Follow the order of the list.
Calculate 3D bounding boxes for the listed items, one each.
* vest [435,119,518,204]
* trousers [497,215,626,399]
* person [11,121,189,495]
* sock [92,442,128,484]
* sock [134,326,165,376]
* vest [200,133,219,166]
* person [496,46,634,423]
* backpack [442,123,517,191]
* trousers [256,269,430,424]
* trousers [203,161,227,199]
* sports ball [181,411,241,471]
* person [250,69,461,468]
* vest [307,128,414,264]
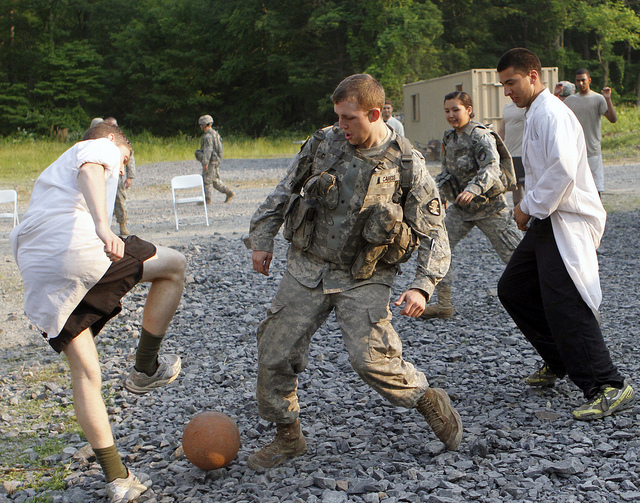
[{"bbox_3d":[1.667,-0.956,7.167,0.586,0.893,0.719,-14,19,-40],"label":"vest"},{"bbox_3d":[1.874,0.374,5.429,0.901,1.602,0.514,-2,-14,17],"label":"trousers"},{"bbox_3d":[-1.428,0.380,4.693,0.881,2.395,0.921,11,23,39],"label":"person"},{"bbox_3d":[-1.372,1.384,4.523,0.179,0.261,0.101,-11,19,-20],"label":"sock"},{"bbox_3d":[-1.239,0.712,4.961,0.205,0.391,0.138,-16,21,-32],"label":"sock"},{"bbox_3d":[-2.322,-2.145,14.487,0.353,0.626,0.561,-7,18,-9],"label":"vest"},{"bbox_3d":[1.833,-0.146,5.258,0.690,2.699,1.281,-11,19,-19],"label":"person"},{"bbox_3d":[1.867,-0.998,7.218,0.514,0.744,0.656,-14,19,-41],"label":"backpack"},{"bbox_3d":[0.135,0.683,4.817,1.144,1.048,0.390,-2,18,7],"label":"trousers"},{"bbox_3d":[-2.320,-1.600,15.082,0.466,0.854,1.211,-7,17,-8],"label":"trousers"},{"bbox_3d":[-0.760,1.328,4.871,0.421,0.380,0.391,-5,2,0],"label":"sports ball"},{"bbox_3d":[0.210,0.131,4.857,1.391,2.623,0.879,-3,18,4],"label":"person"},{"bbox_3d":[0.309,-0.409,4.867,0.653,0.937,0.432,14,19,38],"label":"vest"}]
